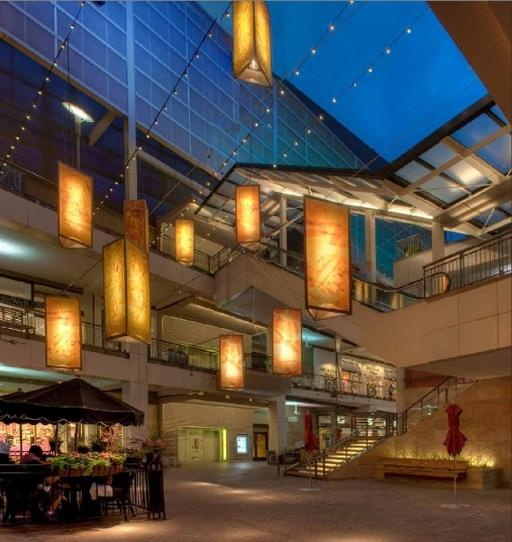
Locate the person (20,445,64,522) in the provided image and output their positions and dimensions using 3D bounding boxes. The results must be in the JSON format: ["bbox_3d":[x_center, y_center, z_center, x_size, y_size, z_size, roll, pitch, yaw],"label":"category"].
[{"bbox_3d":[-3.555,3.692,12.788,0.381,1.125,0.957,1,0,-31],"label":"person"}]

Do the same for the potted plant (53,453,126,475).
[{"bbox_3d":[-2.875,3.303,12.589,1.228,0.397,0.536,15,-24,-42],"label":"potted plant"}]
